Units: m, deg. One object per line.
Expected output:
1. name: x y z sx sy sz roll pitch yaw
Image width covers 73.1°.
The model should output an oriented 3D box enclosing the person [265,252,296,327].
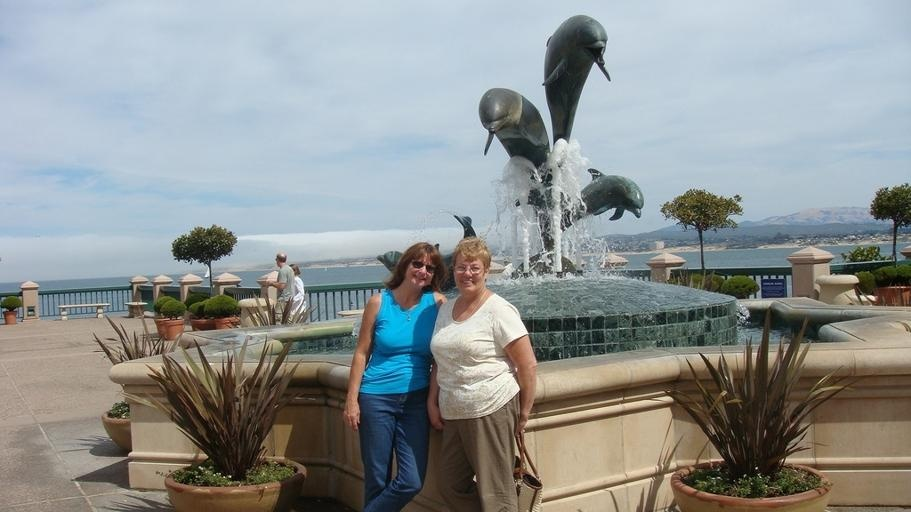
1. person: -4.227 0.949 14.544 0.700 2.023 0.663 7 9 5

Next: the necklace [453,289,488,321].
1. necklace: 0.150 0.462 5.698 0.272 0.244 0.178 3 -8 44

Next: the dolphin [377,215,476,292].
1. dolphin: -0.268 0.023 10.055 1.553 0.575 1.541 -8 -11 -46
